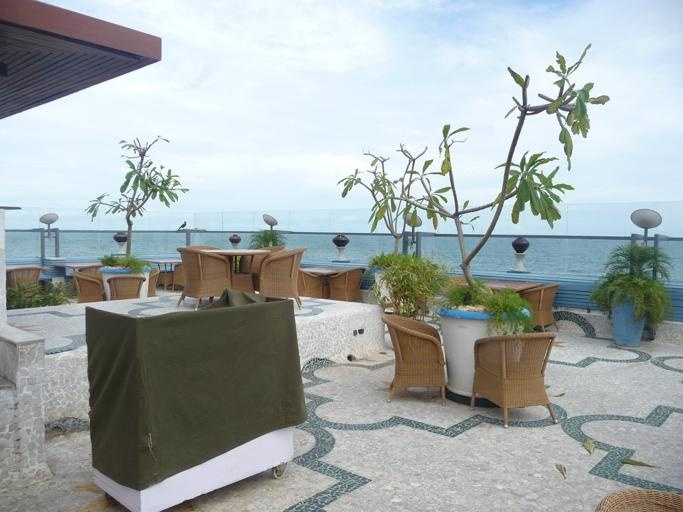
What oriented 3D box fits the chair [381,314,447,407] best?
[{"bbox_3d":[0.644,1.062,4.854,0.838,0.988,0.866,-1,1,2],"label":"chair"}]
